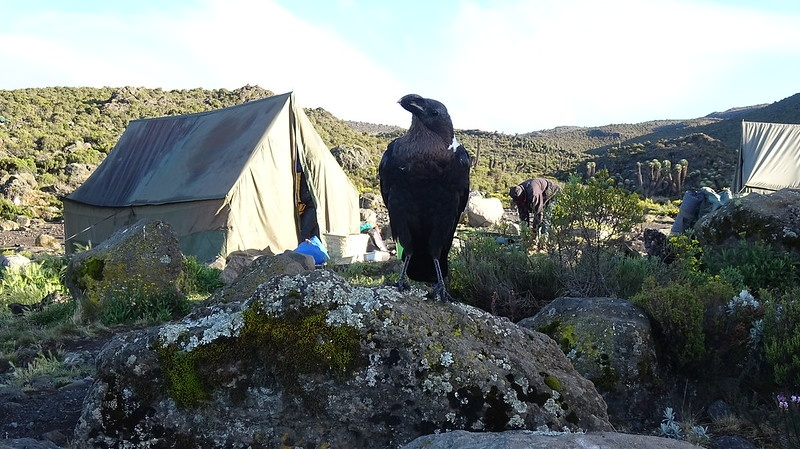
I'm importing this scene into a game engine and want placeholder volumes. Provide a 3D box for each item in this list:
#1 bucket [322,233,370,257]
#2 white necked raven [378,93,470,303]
[{"bbox_3d":[-1.659,0.674,19.660,1.307,0.722,0.759,0,4,-11],"label":"bucket"},{"bbox_3d":[0.462,-0.496,12.589,1.749,3.713,2.268,3,1,4],"label":"white necked raven"}]
